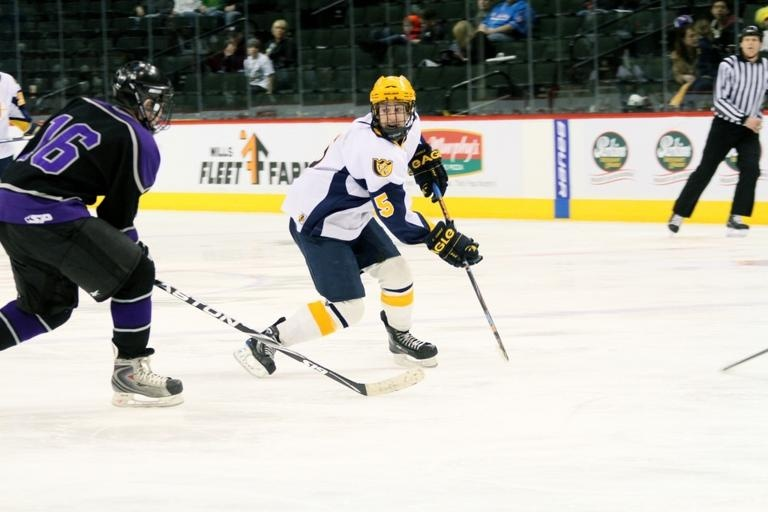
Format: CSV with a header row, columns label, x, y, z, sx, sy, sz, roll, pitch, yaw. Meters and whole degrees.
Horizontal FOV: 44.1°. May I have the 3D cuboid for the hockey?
label,x,y,z,sx,sy,sz,roll,pitch,yaw
hockey,-0.502,0.454,5.015,1.473,0.149,0.108,18,60,26

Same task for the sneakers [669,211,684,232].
label,x,y,z,sx,sy,sz,roll,pitch,yaw
sneakers,2.413,-0.280,7.866,0.118,0.167,0.085,18,1,15

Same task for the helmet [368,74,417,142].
label,x,y,z,sx,sy,sz,roll,pitch,yaw
helmet,0.030,-0.711,4.628,0.193,0.317,0.156,-4,14,-26

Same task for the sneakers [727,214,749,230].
label,x,y,z,sx,sy,sz,roll,pitch,yaw
sneakers,2.884,-0.267,7.716,0.175,0.128,0.090,2,12,1

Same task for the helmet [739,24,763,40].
label,x,y,z,sx,sy,sz,roll,pitch,yaw
helmet,3.001,-1.818,7.755,0.142,0.118,0.179,5,11,16

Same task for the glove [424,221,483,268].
label,x,y,z,sx,sy,sz,roll,pitch,yaw
glove,0.317,-0.057,4.766,0.323,0.186,0.089,34,3,-24
